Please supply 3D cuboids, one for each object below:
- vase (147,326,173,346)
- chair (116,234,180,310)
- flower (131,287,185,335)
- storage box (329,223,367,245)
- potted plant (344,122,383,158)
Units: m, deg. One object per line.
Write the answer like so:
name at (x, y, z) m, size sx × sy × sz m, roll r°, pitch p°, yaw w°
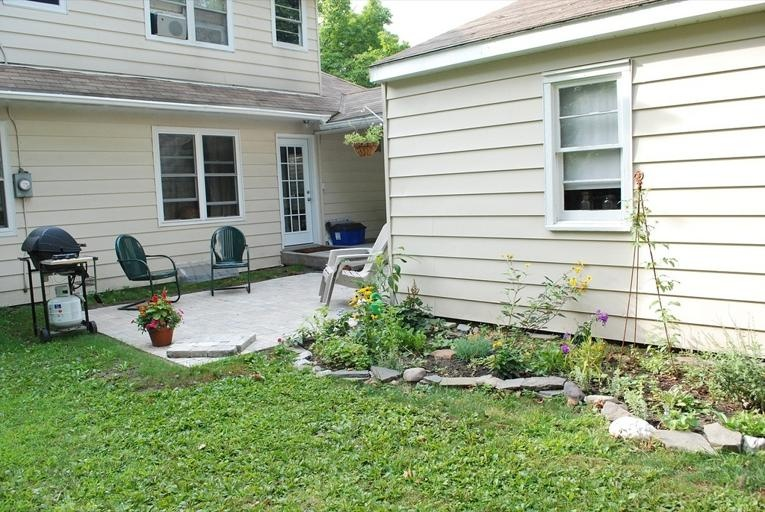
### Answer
vase at (-2.756, 0.972, 6.532) m, size 0.265 × 0.178 × 0.262 m, roll -2°, pitch -2°, yaw 36°
chair at (-3.779, 0.230, 8.463) m, size 0.873 × 1.057 × 0.765 m, roll 2°, pitch 6°, yaw 4°
flower at (-2.809, 0.717, 6.782) m, size 0.718 × 0.631 × 0.710 m, roll 3°, pitch 4°, yaw 40°
storage box at (-0.795, -0.529, 12.227) m, size 0.698 × 0.427 × 0.542 m, roll -4°, pitch 6°, yaw -28°
potted plant at (-0.397, -2.163, 10.096) m, size 0.712 × 0.469 × 0.662 m, roll 4°, pitch 11°, yaw 39°
